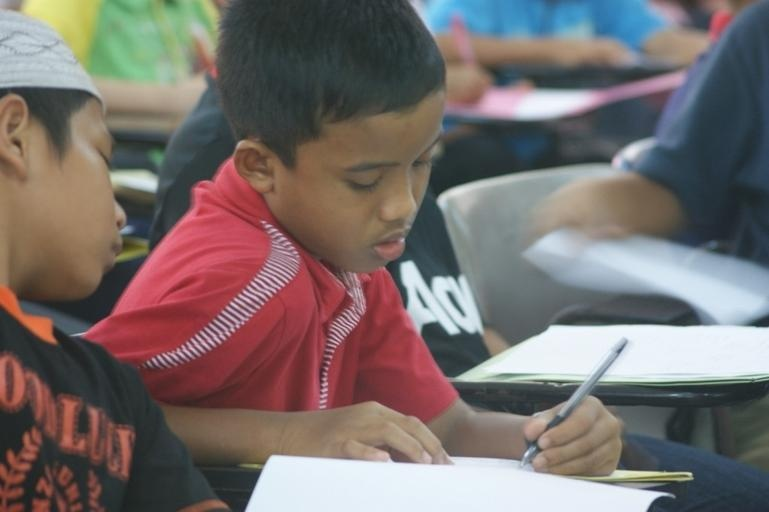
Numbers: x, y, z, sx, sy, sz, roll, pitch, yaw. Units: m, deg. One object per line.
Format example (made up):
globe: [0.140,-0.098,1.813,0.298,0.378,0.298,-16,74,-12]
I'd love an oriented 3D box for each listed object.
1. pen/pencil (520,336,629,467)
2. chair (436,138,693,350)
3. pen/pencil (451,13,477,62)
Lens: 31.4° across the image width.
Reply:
pen/pencil: [0.278,0.217,1.996,0.027,0.238,0.027,38,3,4]
chair: [0.323,0.011,2.597,0.315,0.377,0.324,-19,-5,-27]
pen/pencil: [0.144,-0.410,2.578,0.030,0.018,0.124,-26,44,6]
